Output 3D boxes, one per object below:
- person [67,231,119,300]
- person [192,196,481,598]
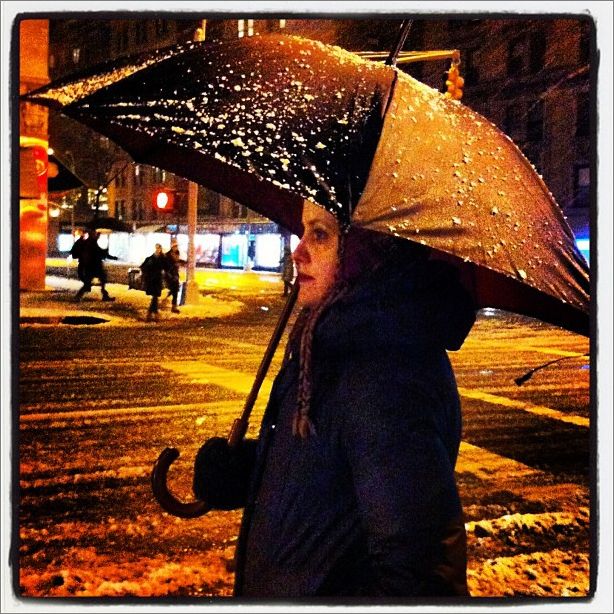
[{"bbox_3d":[-4.508,-0.911,22.137,0.767,1.592,0.620,0,22,-6],"label":"person"},{"bbox_3d":[0.059,0.338,3.688,0.654,1.343,1.240,-5,28,-36],"label":"person"}]
